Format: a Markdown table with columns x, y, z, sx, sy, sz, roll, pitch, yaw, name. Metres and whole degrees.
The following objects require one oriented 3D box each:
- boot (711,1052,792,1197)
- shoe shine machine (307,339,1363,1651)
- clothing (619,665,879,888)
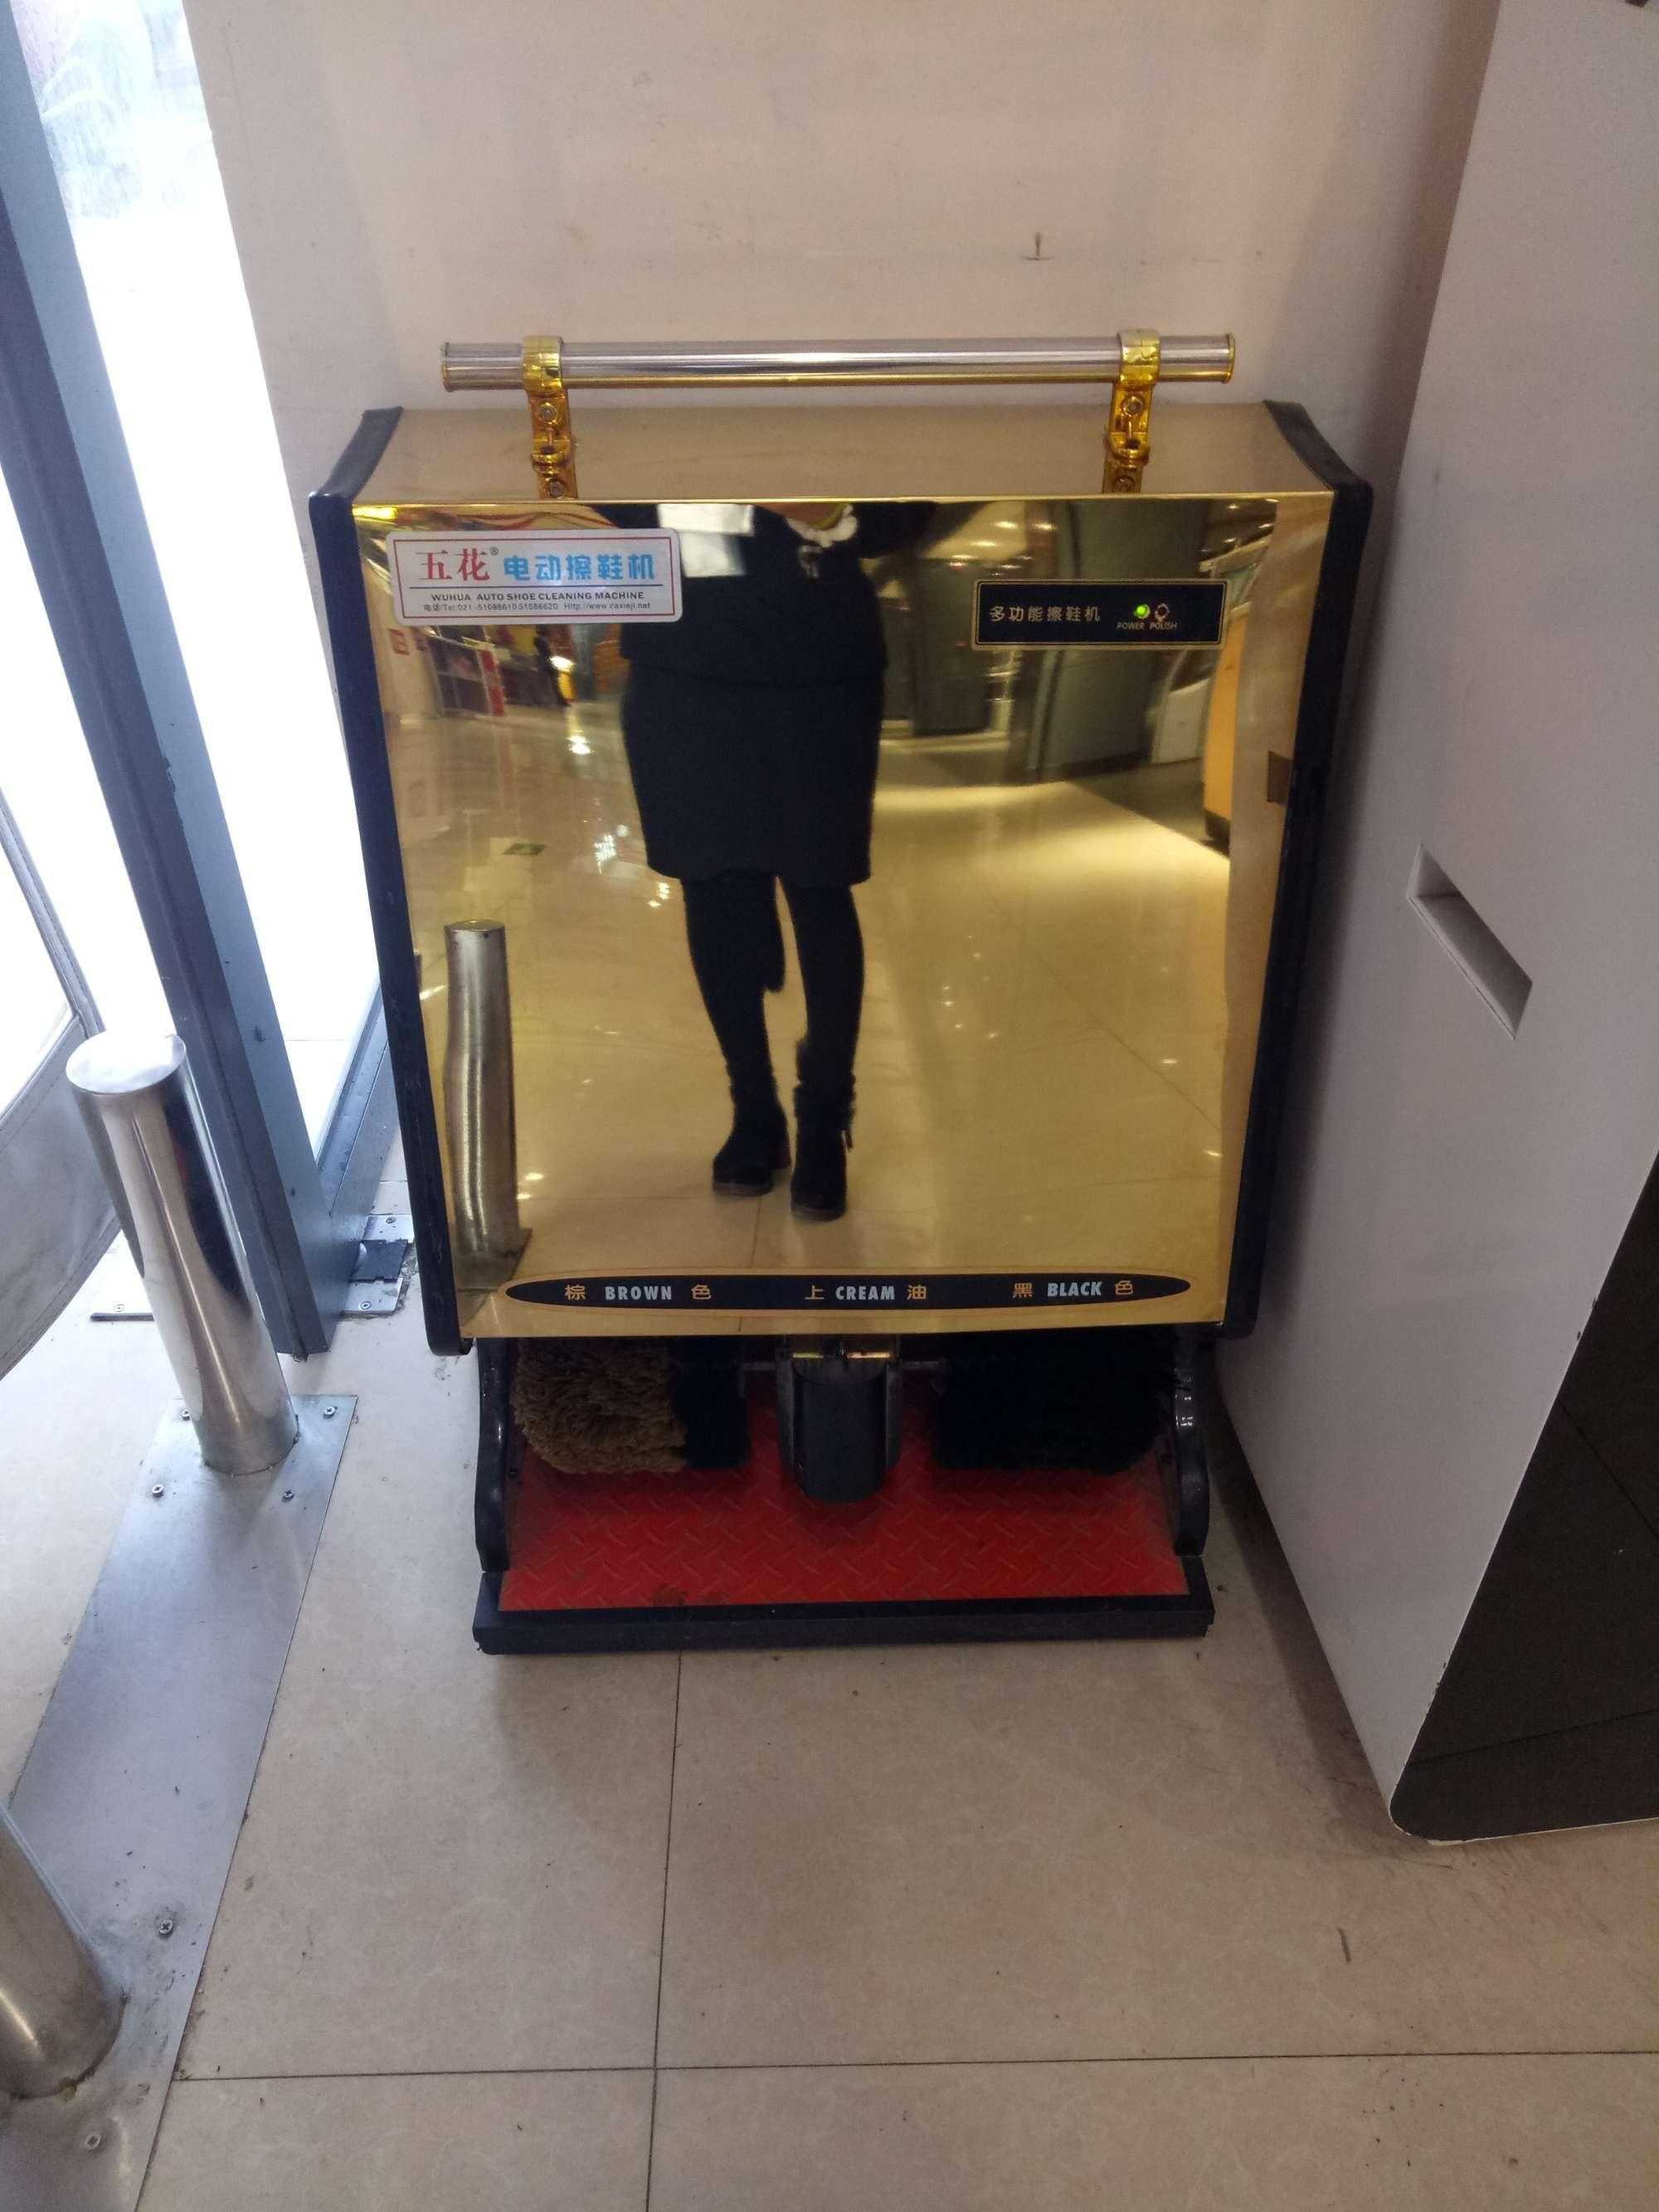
| x | y | z | sx | sy | sz | roll | pitch | yaw | name |
| --- | --- | --- | --- | --- | --- | --- | --- | --- | --- |
| -0.063 | 0.019 | 1.462 | 0.061 | 0.115 | 0.117 | 6 | 57 | 6 | boot |
| 0.009 | -0.057 | 1.473 | 0.765 | 1.140 | 0.457 | -1 | 38 | -1 | shoe shine machine |
| -0.057 | -0.244 | 1.265 | 0.185 | 0.183 | 0.008 | -2 | 38 | -3 | clothing |
